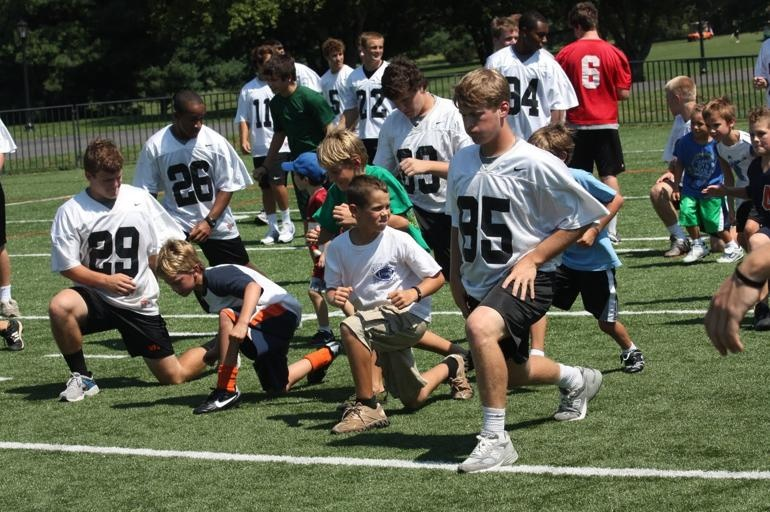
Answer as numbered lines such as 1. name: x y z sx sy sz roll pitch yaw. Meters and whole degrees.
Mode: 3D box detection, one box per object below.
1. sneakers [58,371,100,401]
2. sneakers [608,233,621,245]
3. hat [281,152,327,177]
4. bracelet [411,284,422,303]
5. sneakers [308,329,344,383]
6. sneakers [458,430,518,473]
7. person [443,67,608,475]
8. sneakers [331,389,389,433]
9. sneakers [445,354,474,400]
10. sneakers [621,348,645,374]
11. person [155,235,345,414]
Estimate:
1. sneakers: -2.514 1.075 8.164 0.140 0.176 0.360 -4 -4 24
2. sneakers: 2.618 -0.194 11.216 0.135 0.165 0.369 -1 2 3
3. hat: -0.798 -0.906 9.409 0.434 0.226 0.273 4 11 14
4. bracelet: 0.252 0.266 7.365 0.072 0.108 0.101 2 -17 -25
5. sneakers: -0.545 0.885 8.571 0.167 0.216 0.488 6 18 20
6. sneakers: 0.717 1.339 6.743 0.489 0.239 0.171 -14 5 -33
7. person: 0.923 0.060 6.903 0.918 2.715 0.700 -2 4 3
8. sneakers: -0.157 1.179 7.491 0.509 0.255 0.198 -5 -1 -26
9. sneakers: 0.602 0.961 7.796 0.185 0.411 0.144 -4 7 -19
10. sneakers: 2.027 0.829 8.034 0.184 0.193 0.210 -2 5 11
11. person: -1.085 0.535 8.301 1.677 1.395 0.839 0 -11 -40
